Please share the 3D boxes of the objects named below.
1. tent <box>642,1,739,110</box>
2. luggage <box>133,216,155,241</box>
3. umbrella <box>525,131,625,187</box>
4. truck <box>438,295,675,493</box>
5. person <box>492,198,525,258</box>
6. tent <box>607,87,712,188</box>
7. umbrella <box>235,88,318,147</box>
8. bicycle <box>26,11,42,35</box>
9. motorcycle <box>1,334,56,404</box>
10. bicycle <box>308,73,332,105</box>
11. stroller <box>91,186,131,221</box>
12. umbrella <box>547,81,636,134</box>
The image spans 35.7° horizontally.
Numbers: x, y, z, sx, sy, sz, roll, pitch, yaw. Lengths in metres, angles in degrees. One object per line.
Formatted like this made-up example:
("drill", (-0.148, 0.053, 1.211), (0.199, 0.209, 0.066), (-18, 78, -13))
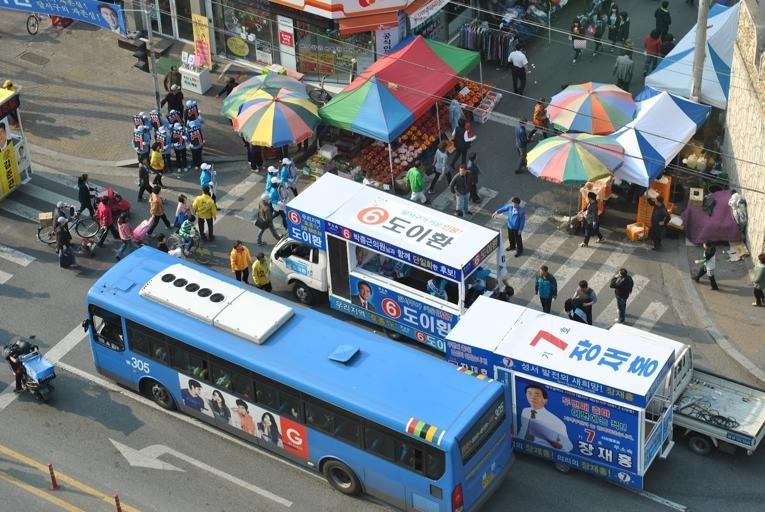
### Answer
("tent", (12.445, -8.007, 46.365), (3.060, 3.466, 4.290), (23, 31, 36))
("luggage", (-8.779, -1.012, 43.483), (0.646, 0.292, 0.841), (-11, 47, 51))
("umbrella", (6.914, -3.544, 42.877), (2.134, 0.865, 2.328), (19, 53, 21))
("truck", (5.194, 3.495, 37.809), (7.784, 4.509, 3.900), (22, 45, 28))
("person", (4.632, -1.098, 42.597), (0.949, 2.330, 0.770), (17, 40, 30))
("tent", (10.086, -4.476, 43.963), (1.944, 2.487, 4.068), (21, 31, 33))
("umbrella", (-4.004, -5.336, 45.171), (2.553, 2.378, 2.451), (1, 78, 8))
("bicycle", (-15.778, -10.534, 53.709), (0.623, 0.806, 0.949), (-2, 26, -11))
("motorcycle", (-11.461, 3.706, 38.720), (1.137, 1.517, 2.629), (-34, 54, -24))
("bicycle", (-2.518, -6.640, 48.543), (0.945, 1.068, 1.082), (14, 58, -6))
("stroller", (-10.121, -2.208, 44.784), (1.364, 0.897, 1.047), (17, 50, -37))
("umbrella", (7.998, -5.531, 45.047), (2.215, 0.863, 2.337), (28, 57, 22))
